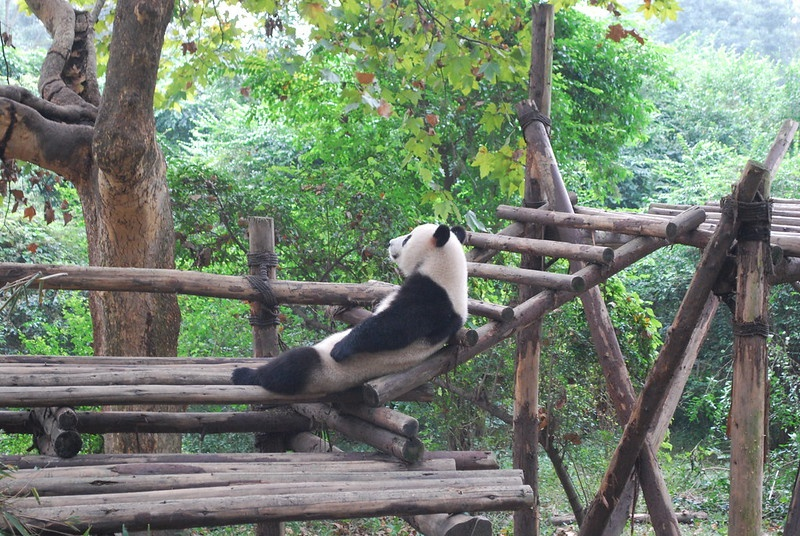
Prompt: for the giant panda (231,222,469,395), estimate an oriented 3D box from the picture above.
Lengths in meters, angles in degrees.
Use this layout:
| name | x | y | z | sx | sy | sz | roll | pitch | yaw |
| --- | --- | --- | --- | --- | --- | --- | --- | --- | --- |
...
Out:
| name | x | y | z | sx | sy | sz | roll | pitch | yaw |
| --- | --- | --- | --- | --- | --- | --- | --- | --- | --- |
| giant panda | -0.625 | 0.596 | 15.583 | 3.366 | 1.938 | 1.909 | -7 | -5 | 1 |
